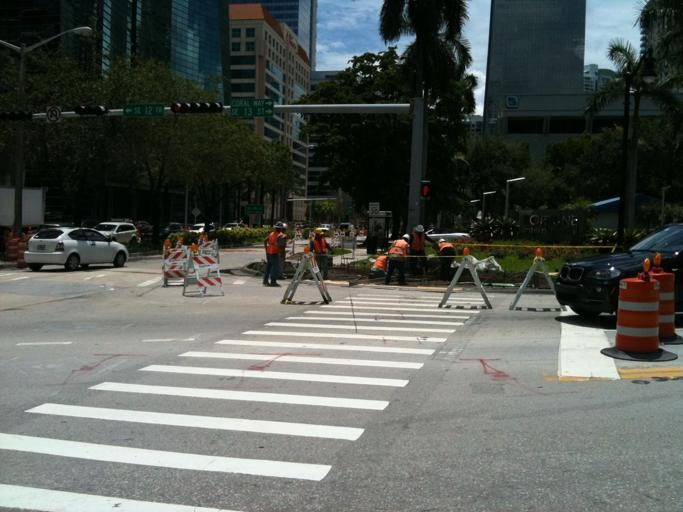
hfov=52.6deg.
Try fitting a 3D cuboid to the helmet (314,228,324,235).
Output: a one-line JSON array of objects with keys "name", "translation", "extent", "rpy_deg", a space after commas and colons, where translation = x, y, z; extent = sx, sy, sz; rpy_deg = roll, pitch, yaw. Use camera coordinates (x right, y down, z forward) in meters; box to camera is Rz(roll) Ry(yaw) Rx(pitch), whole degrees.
[{"name": "helmet", "translation": [-0.718, -0.799, 22.051], "extent": [0.177, 0.145, 0.252], "rpy_deg": [6, 14, 32]}]

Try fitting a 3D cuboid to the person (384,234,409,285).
[{"name": "person", "translation": [1.843, 0.073, 22.042], "extent": [0.625, 1.635, 0.898], "rpy_deg": [6, 0, 23]}]

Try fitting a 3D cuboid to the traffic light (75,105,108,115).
[{"name": "traffic light", "translation": [-9.194, -5.342, 25.322], "extent": [1.144, 0.305, 0.594], "rpy_deg": [0, 4, 0]}]
